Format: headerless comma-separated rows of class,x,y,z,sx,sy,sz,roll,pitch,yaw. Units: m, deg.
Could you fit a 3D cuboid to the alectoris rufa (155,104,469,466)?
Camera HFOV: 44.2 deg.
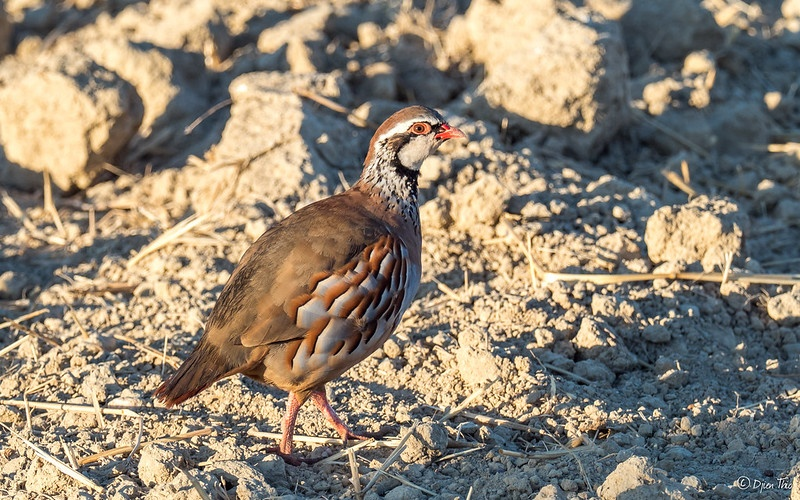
alectoris rufa,0.188,0.182,7.198,3.060,2.973,1.455,-4,9,-24
